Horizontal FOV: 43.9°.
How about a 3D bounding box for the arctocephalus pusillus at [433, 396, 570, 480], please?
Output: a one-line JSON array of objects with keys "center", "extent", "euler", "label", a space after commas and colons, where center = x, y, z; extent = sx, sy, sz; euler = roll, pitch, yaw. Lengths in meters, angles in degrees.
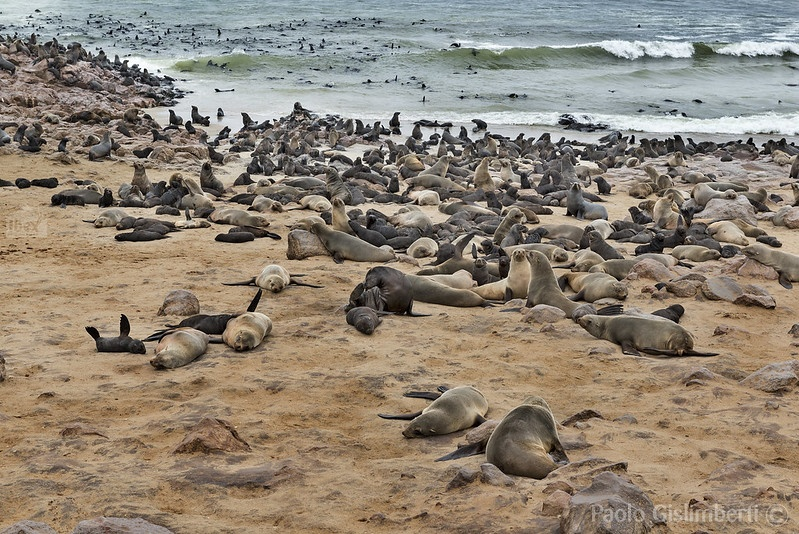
[{"center": [2.095, 2.854, 16.220], "extent": [1.156, 1.037, 0.928], "euler": [-7, 18, -29], "label": "arctocephalus pusillus"}]
